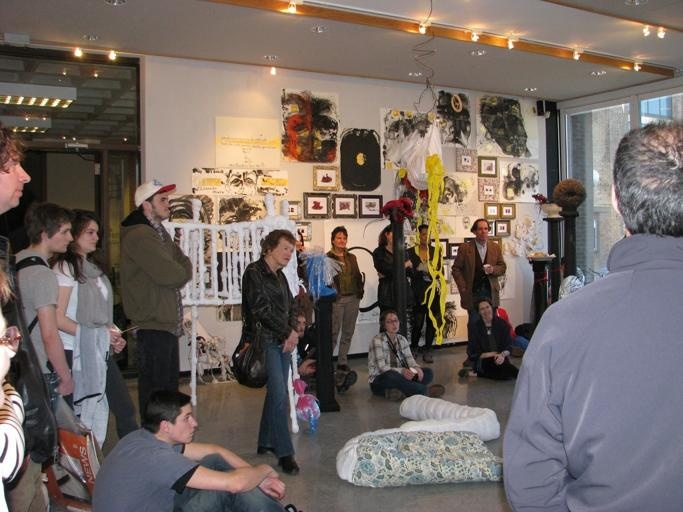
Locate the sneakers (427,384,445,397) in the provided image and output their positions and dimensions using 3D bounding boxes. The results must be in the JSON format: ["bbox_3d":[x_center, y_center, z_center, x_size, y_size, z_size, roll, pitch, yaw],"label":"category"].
[{"bbox_3d":[0.979,1.386,6.029,0.083,0.093,0.207,-7,-13,22],"label":"sneakers"}]

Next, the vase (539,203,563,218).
[{"bbox_3d":[3.215,-0.709,8.957,0.289,0.261,0.300,3,2,18],"label":"vase"}]

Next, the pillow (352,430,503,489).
[{"bbox_3d":[0.541,1.357,3.964,0.692,0.169,0.450,0,10,-4],"label":"pillow"}]

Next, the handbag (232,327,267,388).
[{"bbox_3d":[-0.653,0.701,4.150,0.205,0.446,0.321,2,-6,-40],"label":"handbag"}]

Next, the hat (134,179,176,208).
[{"bbox_3d":[-1.381,-0.463,4.286,0.232,0.216,0.302,1,-1,-7],"label":"hat"}]

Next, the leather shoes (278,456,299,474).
[{"bbox_3d":[-0.368,1.445,4.034,0.154,0.160,0.087,0,1,-9],"label":"leather shoes"}]

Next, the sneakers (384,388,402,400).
[{"bbox_3d":[0.523,1.385,5.891,0.163,0.101,0.154,-3,-6,0],"label":"sneakers"}]

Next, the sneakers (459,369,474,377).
[{"bbox_3d":[1.485,1.399,7.002,0.177,0.070,0.069,2,13,-19],"label":"sneakers"}]
